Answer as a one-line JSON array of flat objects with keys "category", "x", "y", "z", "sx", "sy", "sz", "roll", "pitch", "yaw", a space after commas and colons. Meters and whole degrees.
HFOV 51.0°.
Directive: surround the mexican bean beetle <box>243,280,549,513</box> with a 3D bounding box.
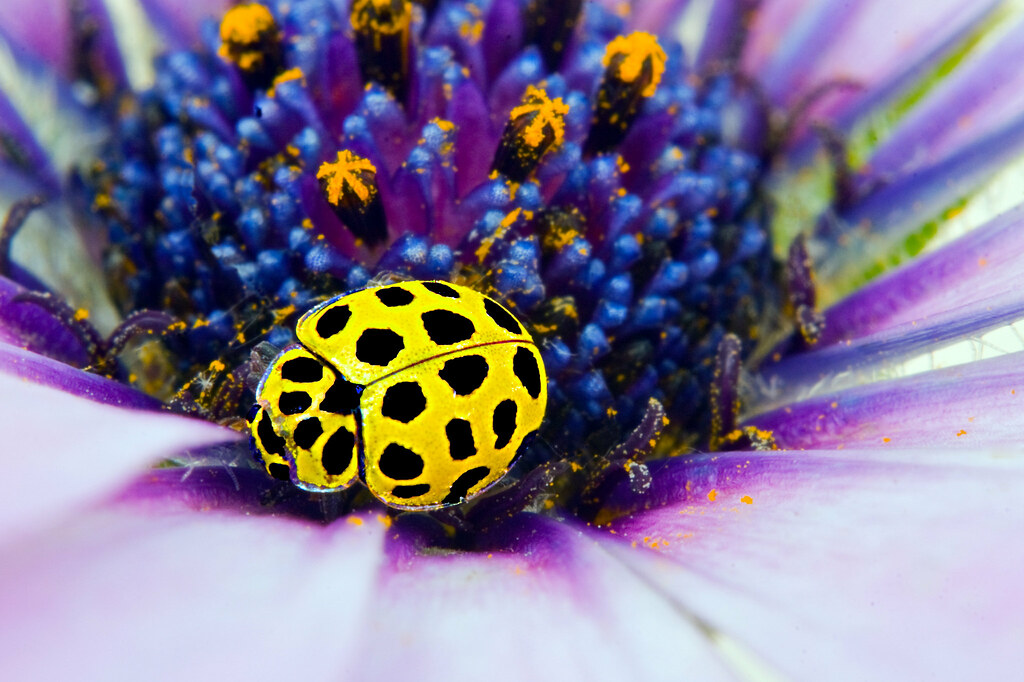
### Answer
[{"category": "mexican bean beetle", "x": -0.109, "y": 0.042, "z": 1.078, "sx": 0.289, "sy": 0.070, "sz": 0.230, "roll": 10, "pitch": 72, "yaw": -6}]
